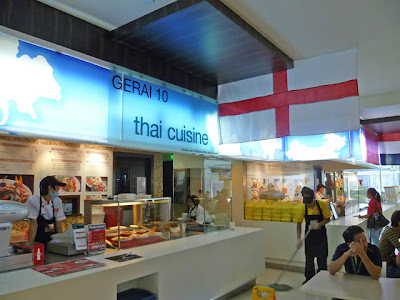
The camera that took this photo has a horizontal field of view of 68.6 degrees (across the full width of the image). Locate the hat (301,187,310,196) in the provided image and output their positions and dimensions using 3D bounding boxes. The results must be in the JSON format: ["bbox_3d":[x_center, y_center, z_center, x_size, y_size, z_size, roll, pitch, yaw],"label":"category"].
[{"bbox_3d":[1.862,0.722,5.170,0.060,0.185,0.129,9,-7,-21],"label":"hat"}]

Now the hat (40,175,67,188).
[{"bbox_3d":[-2.023,0.437,4.040,0.307,0.187,0.204,-5,0,-19],"label":"hat"}]

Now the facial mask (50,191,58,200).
[{"bbox_3d":[-2.020,0.625,4.076,0.119,0.119,0.109,-6,-1,1],"label":"facial mask"}]

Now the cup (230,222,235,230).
[{"bbox_3d":[0.573,1.359,5.242,0.097,0.121,0.119,0,-8,1],"label":"cup"}]

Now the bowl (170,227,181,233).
[{"bbox_3d":[-0.390,1.256,4.629,0.168,0.042,0.141,3,3,-21],"label":"bowl"}]

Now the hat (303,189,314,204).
[{"bbox_3d":[1.906,0.811,5.144,0.178,0.280,0.154,2,-19,17],"label":"hat"}]

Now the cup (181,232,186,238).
[{"bbox_3d":[-0.255,1.317,4.523,0.033,0.069,0.067,-5,-8,29],"label":"cup"}]

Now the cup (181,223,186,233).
[{"bbox_3d":[-0.250,1.234,4.654,0.115,0.087,0.098,2,3,-34],"label":"cup"}]

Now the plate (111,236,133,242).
[{"bbox_3d":[-0.992,1.134,3.738,0.111,0.024,0.135,-2,-5,44],"label":"plate"}]

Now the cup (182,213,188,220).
[{"bbox_3d":[-0.257,1.112,4.879,0.083,0.071,0.082,1,-3,0],"label":"cup"}]

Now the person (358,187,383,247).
[{"bbox_3d":[4.033,1.703,6.886,0.462,1.529,0.469,-3,-2,-35],"label":"person"}]

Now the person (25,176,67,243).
[{"bbox_3d":[-2.097,0.817,4.020,0.479,0.951,0.422,2,3,-32],"label":"person"}]
